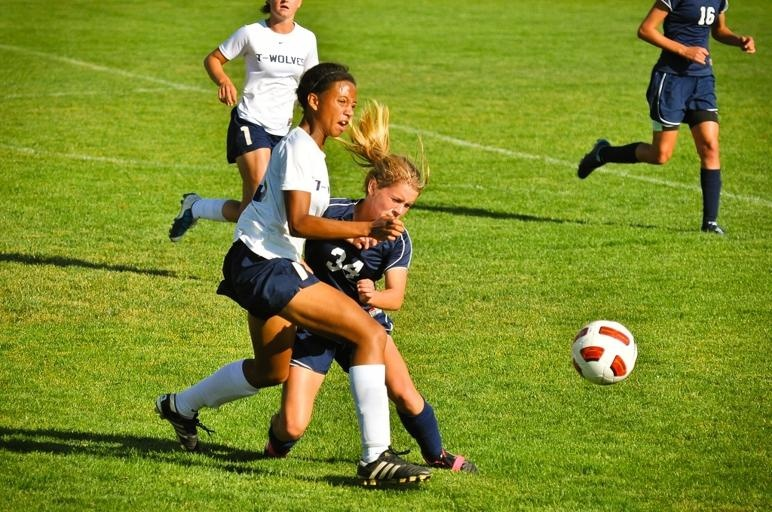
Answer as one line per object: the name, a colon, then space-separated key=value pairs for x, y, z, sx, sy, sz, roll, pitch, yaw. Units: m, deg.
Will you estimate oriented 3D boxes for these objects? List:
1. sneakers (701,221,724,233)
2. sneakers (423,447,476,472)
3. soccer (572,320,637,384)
sneakers: x=3.944 y=-0.344 z=13.565 sx=0.239 sy=0.098 sz=0.122 roll=7 pitch=20 yaw=24
sneakers: x=0.556 y=1.844 z=9.947 sx=0.467 sy=0.196 sz=0.190 roll=4 pitch=27 yaw=1
soccer: x=2.021 y=0.881 z=10.529 sx=0.590 sy=0.577 sz=0.577 roll=5 pitch=55 yaw=14
